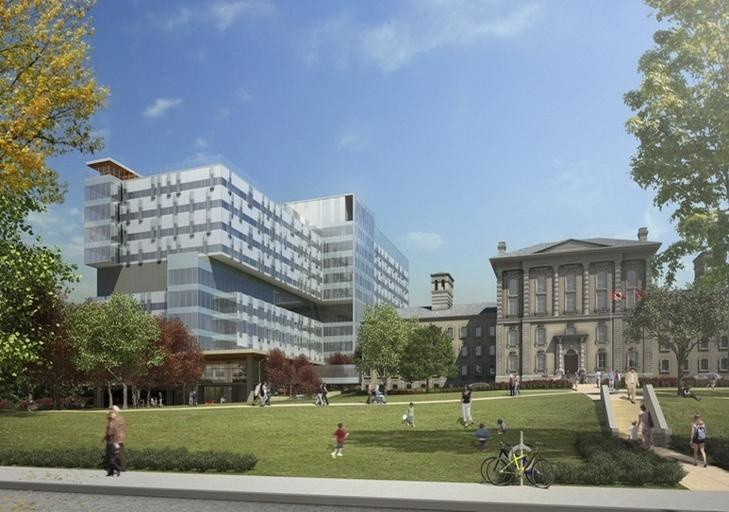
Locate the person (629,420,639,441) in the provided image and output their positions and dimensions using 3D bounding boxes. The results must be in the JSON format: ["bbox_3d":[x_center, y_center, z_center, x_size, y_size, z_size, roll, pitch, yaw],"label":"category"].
[{"bbox_3d":[15.532,10.211,40.521,0.379,1.106,1.504,-5,-14,16],"label":"person"}]

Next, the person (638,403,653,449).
[{"bbox_3d":[16.219,9.927,40.663,0.801,2.551,0.843,-6,6,17],"label":"person"}]

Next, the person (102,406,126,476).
[{"bbox_3d":[-11.907,8.879,33.374,0.972,3.223,1.405,3,-13,-19],"label":"person"}]

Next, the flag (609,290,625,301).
[{"bbox_3d":[33.743,5.234,93.722,1.684,0.939,2.395,-1,-2,19],"label":"flag"}]

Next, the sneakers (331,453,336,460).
[{"bbox_3d":[-1.752,11.222,38.946,0.212,0.206,0.473,1,-3,9],"label":"sneakers"}]
